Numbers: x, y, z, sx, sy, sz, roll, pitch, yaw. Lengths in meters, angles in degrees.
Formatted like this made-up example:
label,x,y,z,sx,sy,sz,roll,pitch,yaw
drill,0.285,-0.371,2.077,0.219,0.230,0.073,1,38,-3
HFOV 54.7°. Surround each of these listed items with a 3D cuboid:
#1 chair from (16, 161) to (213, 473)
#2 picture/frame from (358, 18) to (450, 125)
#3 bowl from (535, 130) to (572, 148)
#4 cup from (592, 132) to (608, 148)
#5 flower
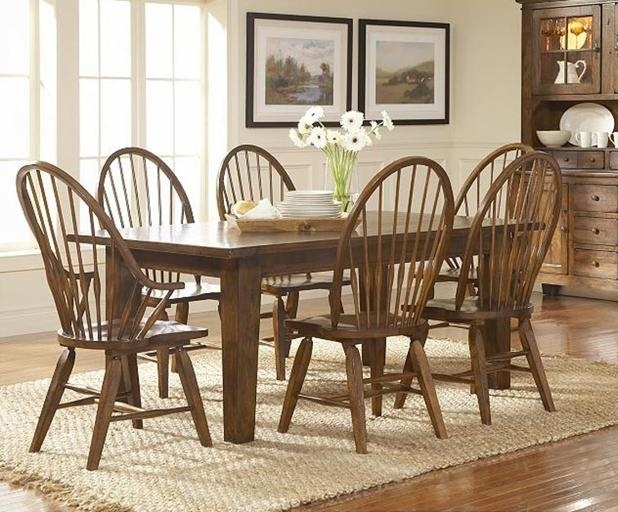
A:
label,x,y,z,sx,sy,sz,roll,pitch,yaw
chair,-0.686,0.212,2.165,0.730,0.901,0.671,1,-6,25
picture/frame,0.924,-1.761,5.808,0.046,0.897,1.069,-26,30,-38
bowl,2.226,-1.073,5.483,0.261,0.105,0.261,-1,0,0
cup,2.544,-1.004,5.231,0.137,0.175,0.335,2,4,25
flower,0.164,-0.422,2.998,0.419,0.401,0.425,-1,1,-32
